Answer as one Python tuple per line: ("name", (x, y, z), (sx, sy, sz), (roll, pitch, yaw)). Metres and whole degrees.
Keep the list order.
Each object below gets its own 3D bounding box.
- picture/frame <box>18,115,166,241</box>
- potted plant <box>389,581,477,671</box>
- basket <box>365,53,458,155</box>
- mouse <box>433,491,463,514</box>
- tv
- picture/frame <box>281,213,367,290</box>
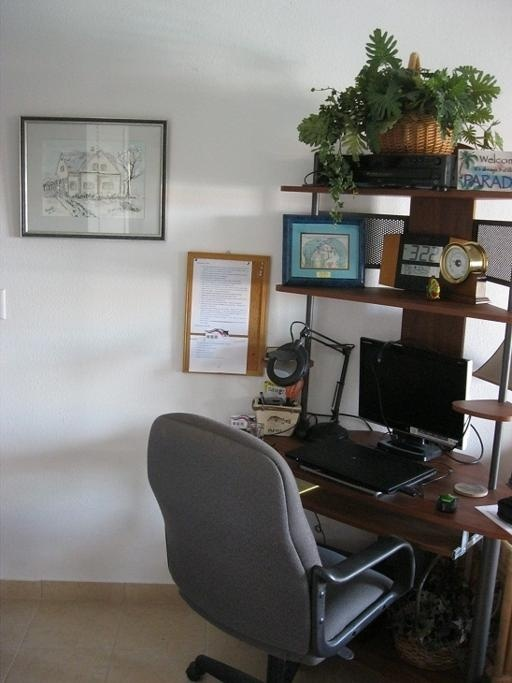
("picture/frame", (-0.609, -0.624, 2.104), (0.472, 0.367, 0.017), (1, 13, 1))
("potted plant", (0.613, 0.966, 2.017), (0.265, 0.194, 0.309), (2, 9, 7))
("basket", (0.459, -0.652, 1.653), (0.296, 0.285, 0.297), (-2, 17, -4))
("mouse", (0.535, 0.445, 1.595), (0.048, 0.040, 0.048), (10, 20, 35))
("tv", (0.549, 0.190, 1.938), (0.172, 0.348, 0.397), (-13, 16, -37))
("picture/frame", (0.239, -0.312, 2.015), (0.302, 0.240, 0.030), (0, 2, 0))
